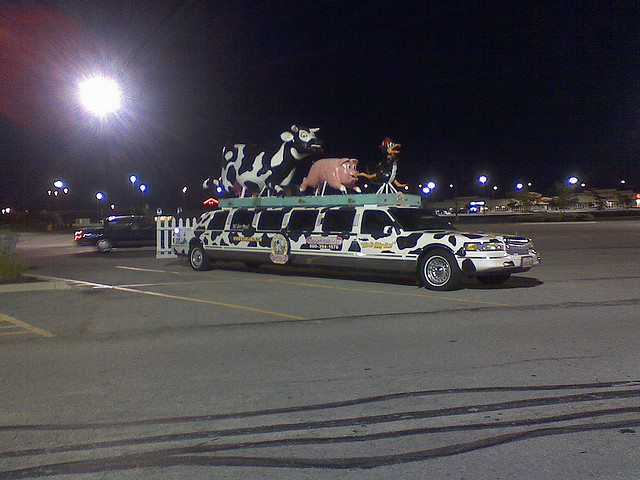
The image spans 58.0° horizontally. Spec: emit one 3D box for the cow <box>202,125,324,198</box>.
[{"bbox_3d":[-1.779,-2.655,19.492,3.342,2.278,1.114,2,6,33],"label":"cow"}]

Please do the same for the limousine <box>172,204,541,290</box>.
[{"bbox_3d":[0.627,0.045,16.403,10.746,2.258,3.557,-1,1,38],"label":"limousine"}]
